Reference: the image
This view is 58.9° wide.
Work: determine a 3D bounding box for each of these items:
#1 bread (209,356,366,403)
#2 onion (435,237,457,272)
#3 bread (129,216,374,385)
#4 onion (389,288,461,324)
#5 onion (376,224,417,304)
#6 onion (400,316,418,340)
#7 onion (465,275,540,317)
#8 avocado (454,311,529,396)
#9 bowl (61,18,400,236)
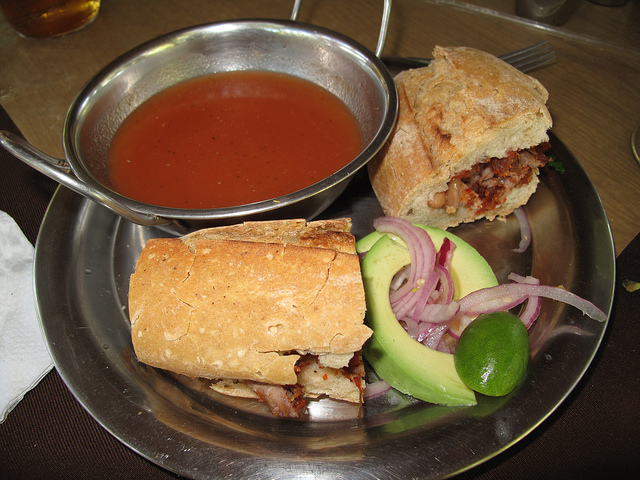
[{"bbox_3d":[-0.077,0.699,2.711,0.378,0.346,0.104,-2,106,5],"label":"bread"},{"bbox_3d":[0.648,0.083,2.977,0.107,0.047,0.186,16,55,-4],"label":"onion"},{"bbox_3d":[-0.346,0.272,2.646,1.108,0.266,0.805,-3,73,-5],"label":"bread"},{"bbox_3d":[0.532,0.346,2.882,0.341,0.103,0.105,14,78,14],"label":"onion"},{"bbox_3d":[0.443,0.126,2.998,0.197,0.325,0.321,-14,28,-29],"label":"onion"},{"bbox_3d":[0.454,0.443,2.839,0.079,0.026,0.105,-4,61,-14],"label":"onion"},{"bbox_3d":[0.879,0.291,2.932,0.408,0.172,0.236,-7,21,-31],"label":"onion"},{"bbox_3d":[0.814,0.526,2.678,0.335,0.258,0.448,7,56,19],"label":"avocado"},{"bbox_3d":[-0.457,-0.590,3.132,1.418,0.673,1.008,-10,31,-16],"label":"bowl"}]
